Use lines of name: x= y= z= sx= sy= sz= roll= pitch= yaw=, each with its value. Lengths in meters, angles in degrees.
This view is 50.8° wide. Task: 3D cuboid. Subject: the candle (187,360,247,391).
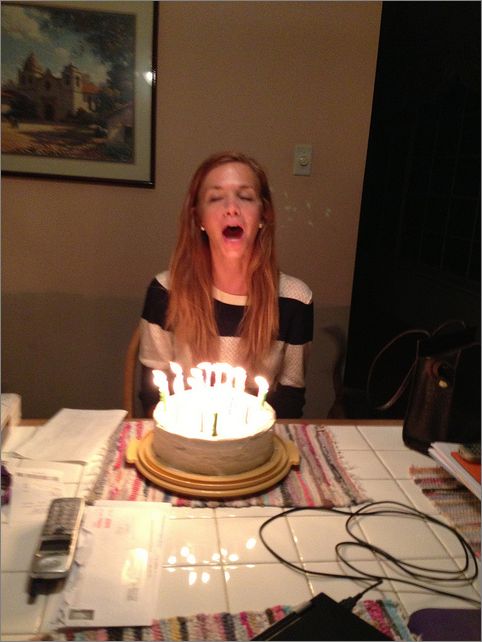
candle: x=-0.059 y=0.117 z=1.055 sx=0.111 sy=0.047 sz=0.118 roll=5 pitch=-13 yaw=-24

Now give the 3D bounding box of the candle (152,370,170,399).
candle: x=-0.157 y=0.112 z=0.972 sx=0.036 sy=0.061 sz=0.016 roll=-27 pitch=34 yaw=-37

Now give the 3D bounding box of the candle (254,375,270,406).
candle: x=0.042 y=0.134 z=1.014 sx=0.031 sy=0.059 sz=0.016 roll=-3 pitch=31 yaw=-1

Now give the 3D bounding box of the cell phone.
cell phone: x=-0.255 y=0.306 z=0.703 sx=0.050 sy=0.023 sz=0.205 roll=0 pitch=6 yaw=-13

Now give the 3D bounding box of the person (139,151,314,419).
person: x=-0.033 y=-0.050 z=1.541 sx=0.530 sy=0.870 sz=0.459 roll=2 pitch=0 yaw=-7
